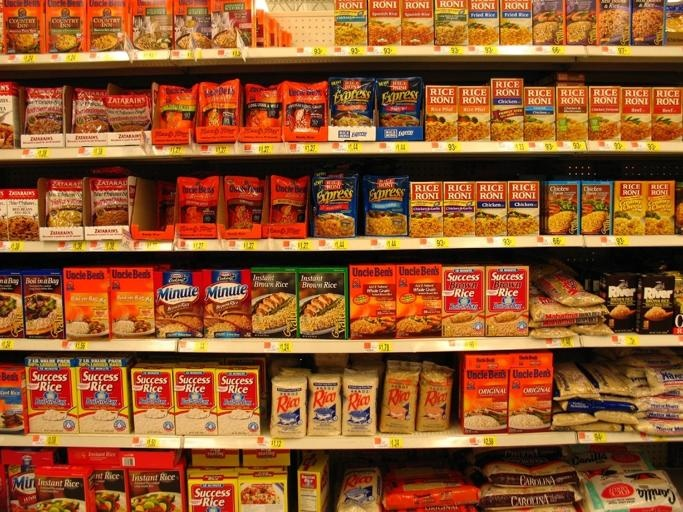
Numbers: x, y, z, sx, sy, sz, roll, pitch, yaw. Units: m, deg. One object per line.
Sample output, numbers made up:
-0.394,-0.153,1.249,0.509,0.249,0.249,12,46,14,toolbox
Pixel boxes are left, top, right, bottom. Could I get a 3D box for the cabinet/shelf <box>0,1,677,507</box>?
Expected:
-0.034,0.022,3.855,4.195,1.734,1.131,-1,2,0,cabinet/shelf
